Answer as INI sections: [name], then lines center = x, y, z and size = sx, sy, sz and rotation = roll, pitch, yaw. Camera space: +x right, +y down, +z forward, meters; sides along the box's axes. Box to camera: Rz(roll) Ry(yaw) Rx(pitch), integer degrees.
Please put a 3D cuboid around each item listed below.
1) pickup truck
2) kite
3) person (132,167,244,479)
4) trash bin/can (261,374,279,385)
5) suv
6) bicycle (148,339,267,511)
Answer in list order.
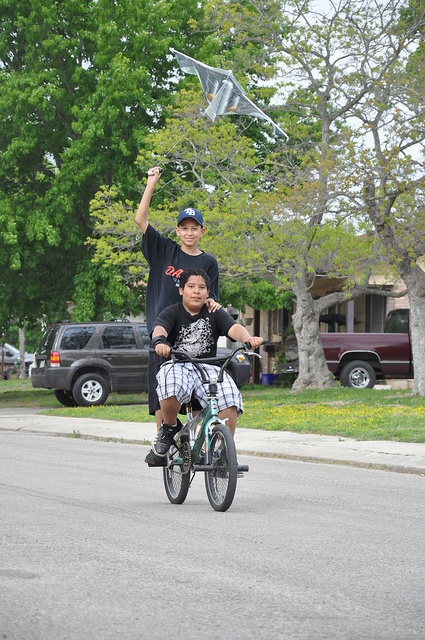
[pickup truck]
center = 3.723, 0.909, 20.852
size = 3.553, 1.464, 1.878
rotation = -3, -3, -4
[kite]
center = 0.205, -4.516, 14.427
size = 0.999, 1.693, 1.865
rotation = -3, -1, -13
[person]
center = -0.238, -0.012, 5.651
size = 0.737, 2.119, 0.646
rotation = 1, -1, -25
[trash bin/can]
center = 2.136, 2.228, 28.044
size = 0.478, 0.323, 0.461
rotation = 3, -3, -4
[suv]
center = -1.400, 0.798, 19.278
size = 5.448, 2.272, 2.310
rotation = -4, 13, 16
[bicycle]
center = -0.052, 0.882, 5.457
size = 0.752, 0.829, 1.253
rotation = 2, -8, -17
